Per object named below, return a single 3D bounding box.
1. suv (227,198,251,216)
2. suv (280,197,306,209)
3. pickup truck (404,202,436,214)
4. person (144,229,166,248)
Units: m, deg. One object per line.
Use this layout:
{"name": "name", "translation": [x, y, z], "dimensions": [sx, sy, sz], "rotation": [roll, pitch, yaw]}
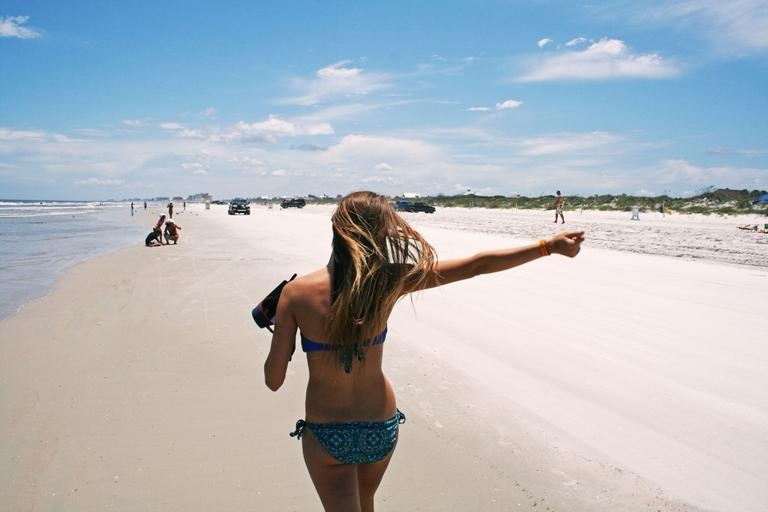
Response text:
{"name": "suv", "translation": [-16.804, -5.764, 54.584], "dimensions": [1.974, 1.792, 4.270], "rotation": [-5, 13, -21]}
{"name": "suv", "translation": [-14.713, -8.796, 76.883], "dimensions": [3.551, 1.521, 2.144], "rotation": [2, 6, -12]}
{"name": "pickup truck", "translation": [3.979, -5.383, 52.001], "dimensions": [2.942, 1.030, 1.409], "rotation": [-1, 7, 6]}
{"name": "person", "translation": [-9.575, -0.850, 19.536], "dimensions": [0.664, 0.822, 1.142], "rotation": [-5, 14, -20]}
